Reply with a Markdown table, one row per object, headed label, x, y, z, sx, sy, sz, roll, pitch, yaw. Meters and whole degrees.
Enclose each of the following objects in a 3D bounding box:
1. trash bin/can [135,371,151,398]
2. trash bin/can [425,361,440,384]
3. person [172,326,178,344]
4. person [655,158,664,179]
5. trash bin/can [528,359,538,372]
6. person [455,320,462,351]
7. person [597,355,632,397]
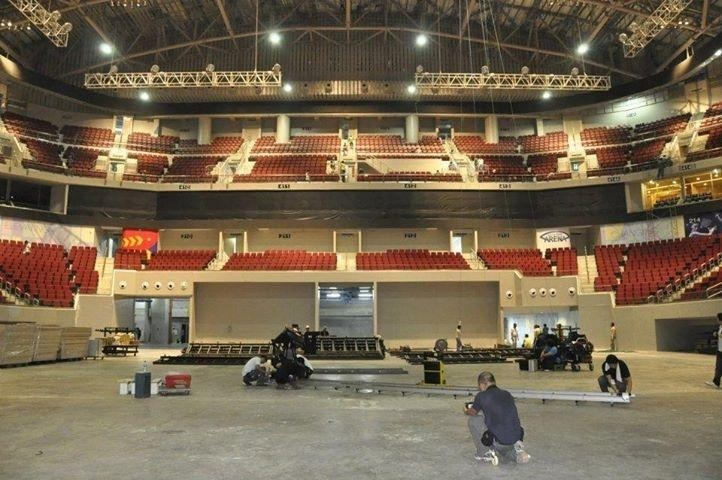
| label | x | y | z | sx | sy | sz | roll | pitch | yaw |
| --- | --- | --- | --- | --- | --- | --- | --- | --- | --- |
| trash bin/can | -7.235 | 4.835 | 18.891 | 0.553 | 0.871 | 0.533 | 6 | -13 | -29 |
| trash bin/can | 2.603 | 4.771 | 20.311 | 0.719 | 0.718 | 0.461 | 1 | -15 | 7 |
| person | -14.054 | 7.183 | 42.896 | 0.520 | 1.120 | 0.149 | -2 | -11 | 6 |
| person | 21.692 | -5.283 | 40.823 | 0.319 | 1.308 | 0.744 | 7 | 2 | -29 |
| trash bin/can | 7.591 | 5.513 | 24.947 | 0.385 | 0.510 | 0.690 | -7 | -13 | 28 |
| person | 6.438 | 6.239 | 37.153 | 0.383 | 0.585 | 1.803 | -10 | 5 | 9 |
| person | 8.266 | 4.556 | 18.421 | 0.998 | 1.700 | 0.976 | -8 | -3 | 24 |
